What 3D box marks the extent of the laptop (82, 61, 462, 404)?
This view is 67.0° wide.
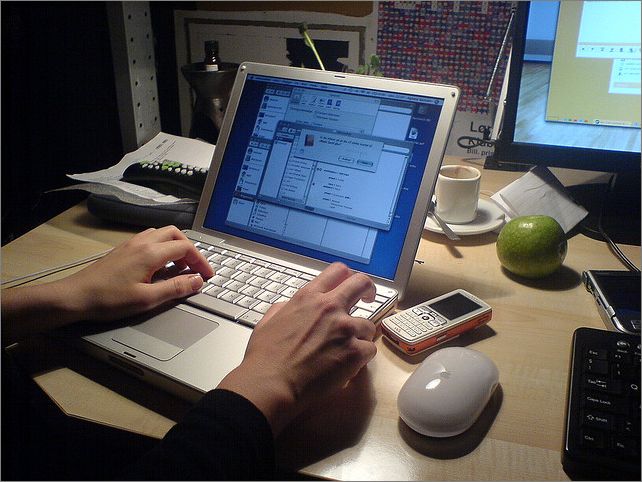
[{"bbox_3d":[-0.011,-0.024,0.829,0.417,0.352,0.557,18,32,29],"label":"laptop"}]

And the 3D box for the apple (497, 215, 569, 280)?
[{"bbox_3d":[0.371,0.003,0.819,0.094,0.093,0.095,-13,27,38],"label":"apple"}]

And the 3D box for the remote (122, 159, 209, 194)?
[{"bbox_3d":[-0.320,-0.116,1.023,0.168,0.046,0.081,8,40,12],"label":"remote"}]

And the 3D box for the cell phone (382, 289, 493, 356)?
[{"bbox_3d":[0.166,0.090,0.684,0.152,0.036,0.073,-22,36,-28],"label":"cell phone"}]

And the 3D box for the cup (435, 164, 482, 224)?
[{"bbox_3d":[0.254,-0.098,0.974,0.077,0.098,0.131,-2,30,2],"label":"cup"}]

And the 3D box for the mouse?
[{"bbox_3d":[0.157,0.183,0.597,0.088,0.052,0.130,28,39,30],"label":"mouse"}]
